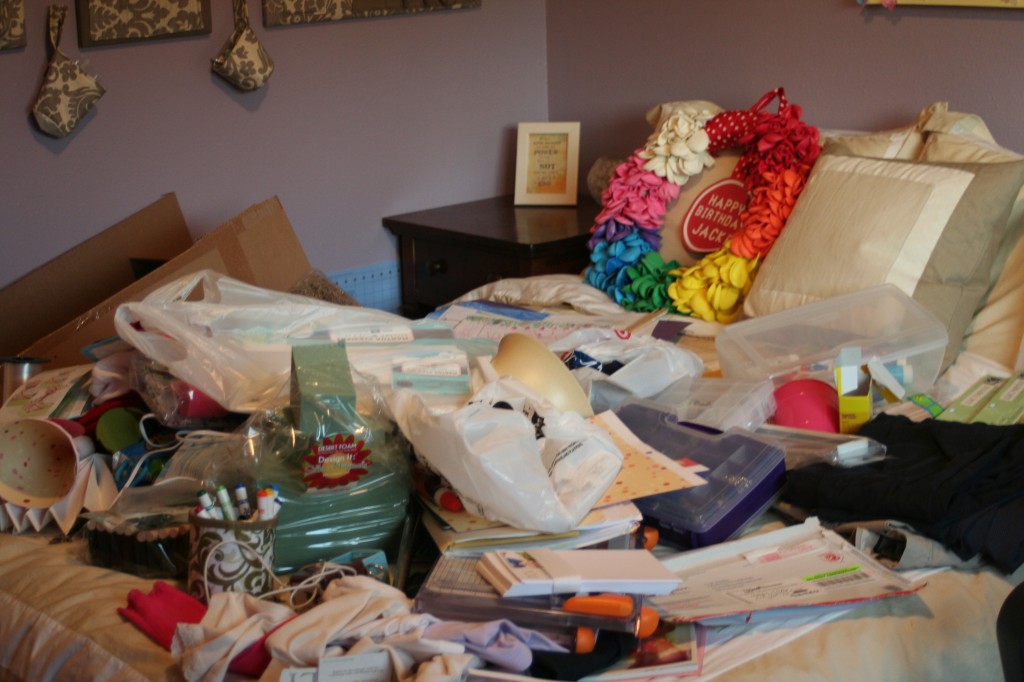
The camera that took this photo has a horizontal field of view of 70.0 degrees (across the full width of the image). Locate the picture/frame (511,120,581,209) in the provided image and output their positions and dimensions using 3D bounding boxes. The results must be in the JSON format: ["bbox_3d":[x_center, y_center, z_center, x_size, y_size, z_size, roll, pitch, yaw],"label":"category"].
[{"bbox_3d":[0.145,-0.710,2.958,0.372,0.455,0.034,5,15,15],"label":"picture/frame"}]

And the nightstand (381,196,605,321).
[{"bbox_3d":[-0.050,-0.438,2.734,0.604,0.580,0.510,13,20,42],"label":"nightstand"}]

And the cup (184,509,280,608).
[{"bbox_3d":[-0.432,0.333,1.188,0.133,0.143,0.134,1,1,0],"label":"cup"}]
